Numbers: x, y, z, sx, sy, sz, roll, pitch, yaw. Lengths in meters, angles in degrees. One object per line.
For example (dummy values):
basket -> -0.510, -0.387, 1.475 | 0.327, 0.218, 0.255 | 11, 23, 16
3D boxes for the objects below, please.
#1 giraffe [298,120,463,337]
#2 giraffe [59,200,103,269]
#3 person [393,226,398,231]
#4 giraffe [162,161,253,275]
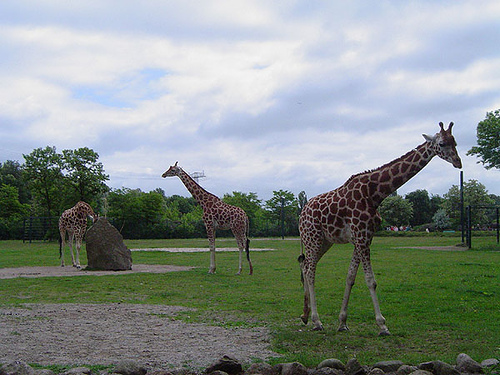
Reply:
giraffe -> 2.881, 1.099, 14.320 | 3.368, 4.601, 1.305 | -2, -4, 3
giraffe -> -7.821, 2.019, 26.408 | 1.438, 2.872, 7.239 | 0, -4, -19
person -> 21.064, 5.894, 85.138 | 0.275, 0.978, 0.943 | 11, 6, 37
giraffe -> -1.964, 1.141, 23.480 | 4.004, 4.320, 2.113 | -4, -5, 35
